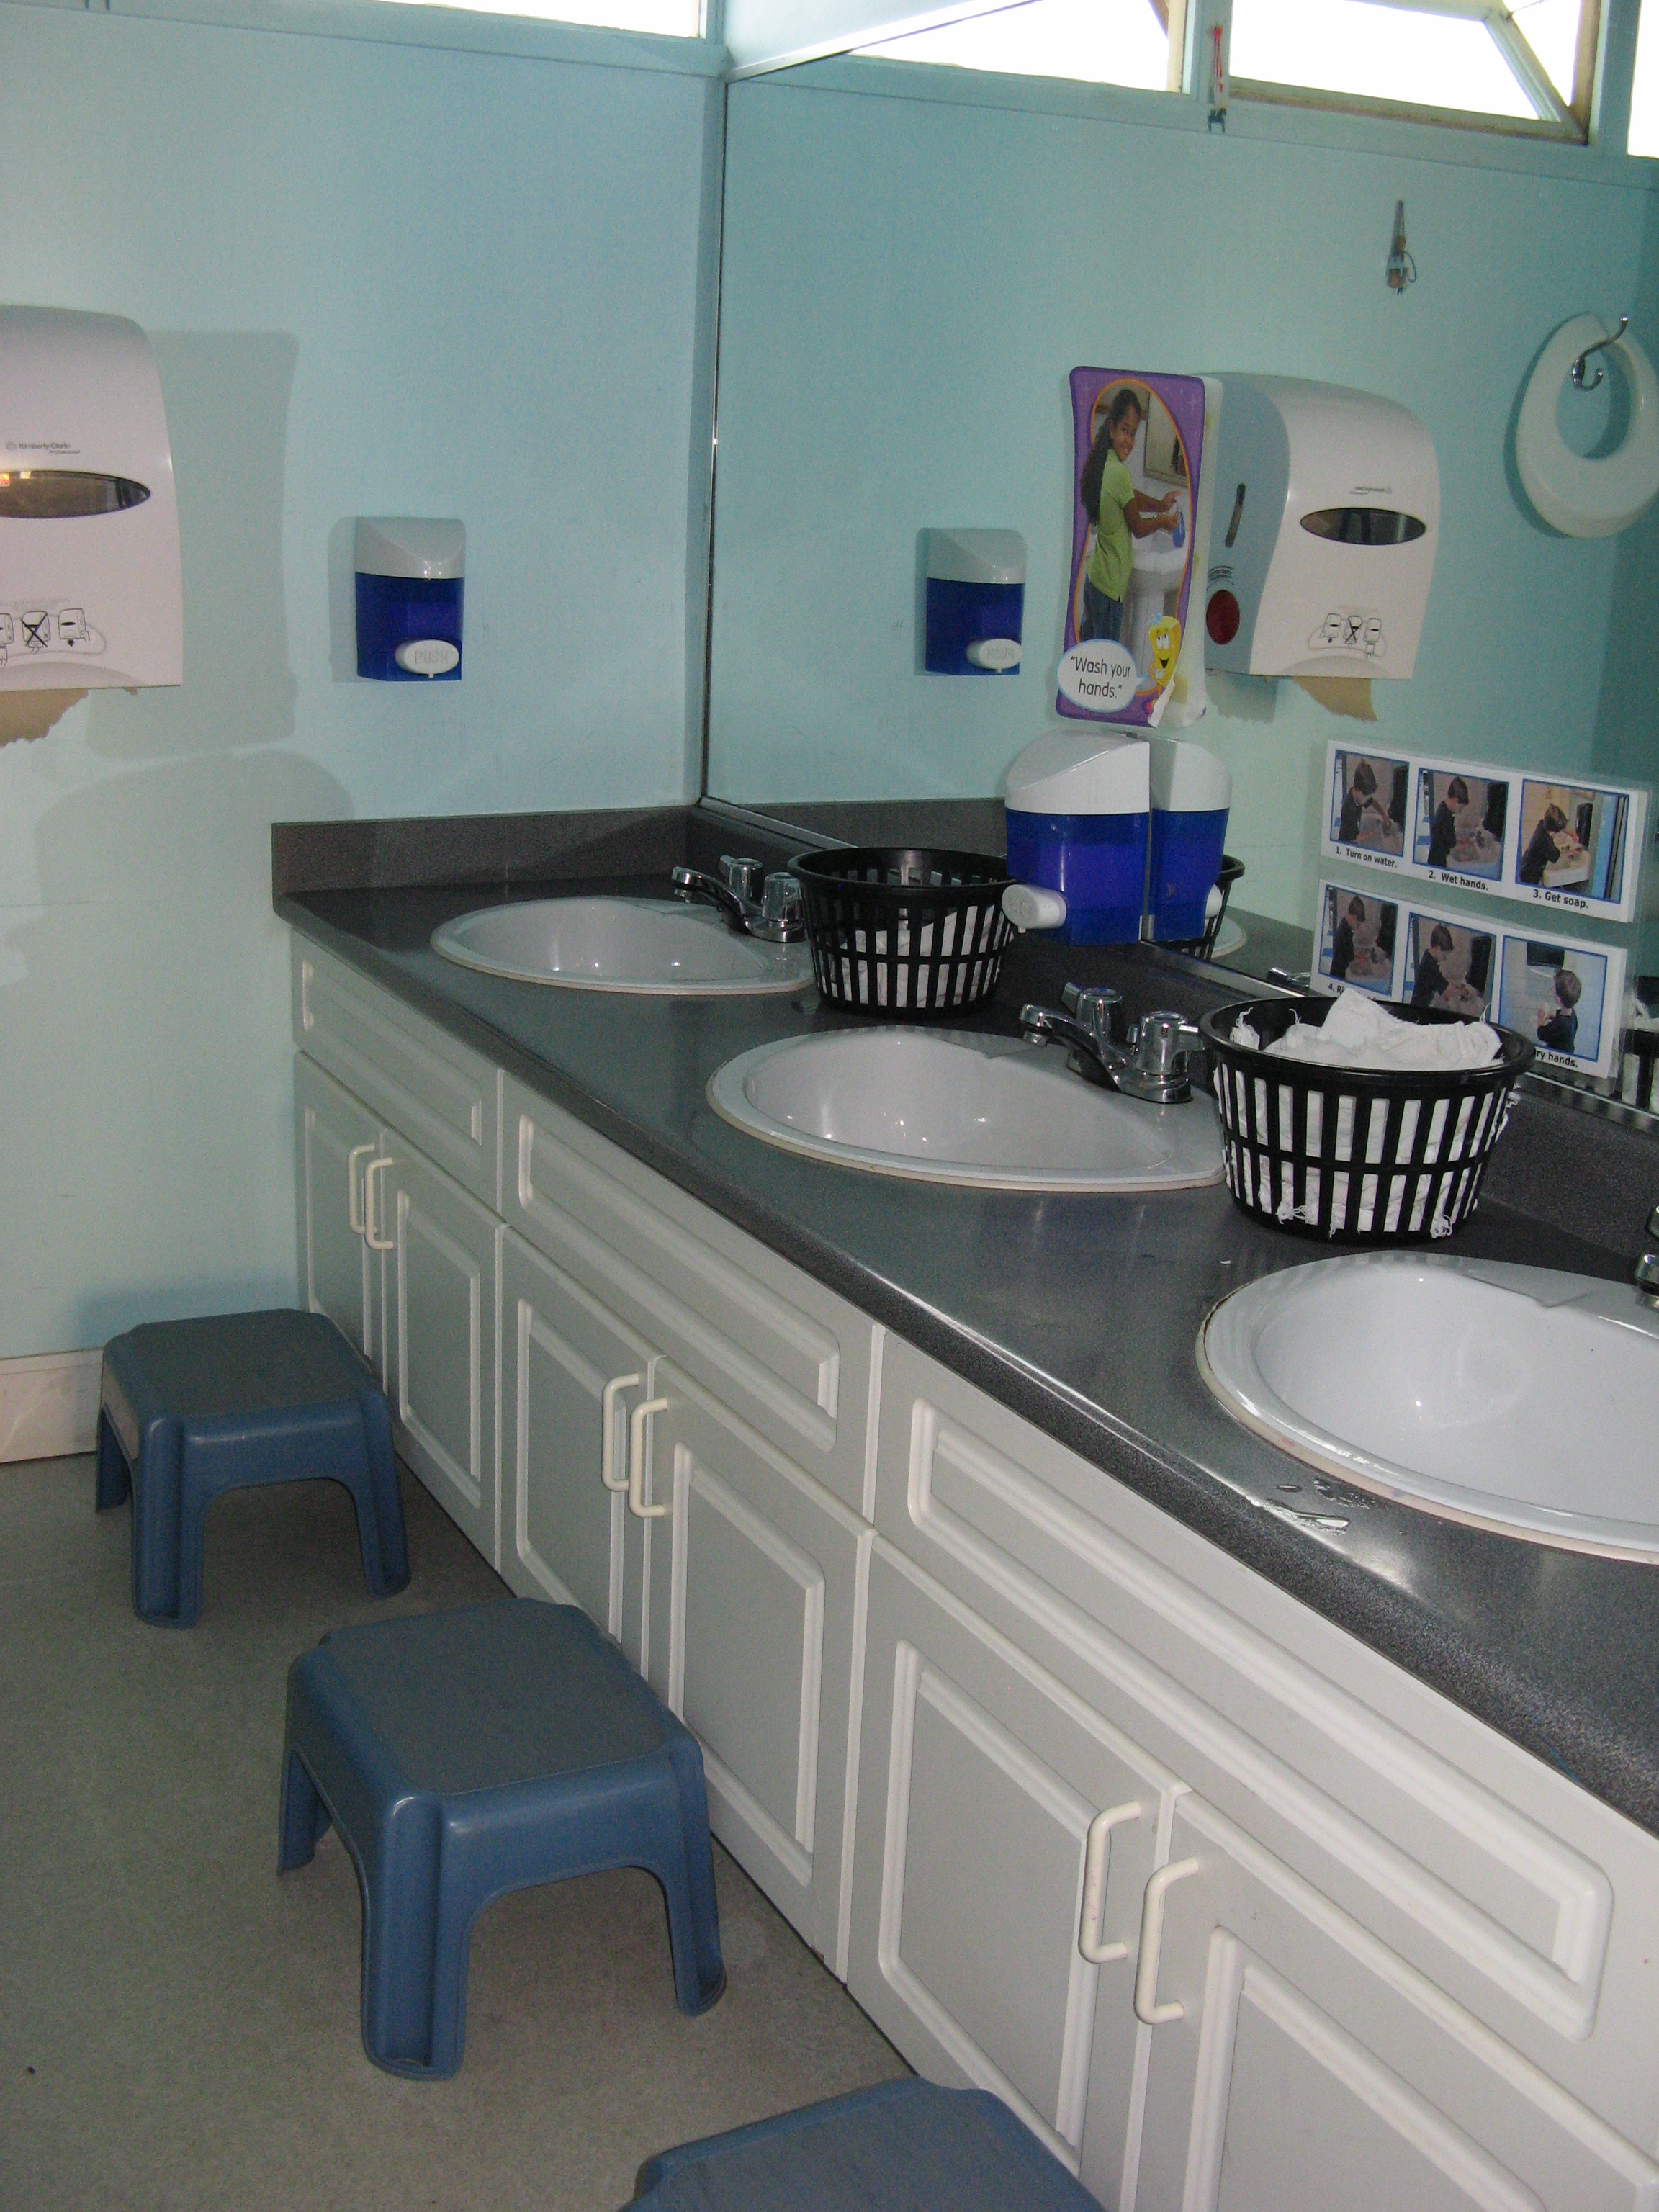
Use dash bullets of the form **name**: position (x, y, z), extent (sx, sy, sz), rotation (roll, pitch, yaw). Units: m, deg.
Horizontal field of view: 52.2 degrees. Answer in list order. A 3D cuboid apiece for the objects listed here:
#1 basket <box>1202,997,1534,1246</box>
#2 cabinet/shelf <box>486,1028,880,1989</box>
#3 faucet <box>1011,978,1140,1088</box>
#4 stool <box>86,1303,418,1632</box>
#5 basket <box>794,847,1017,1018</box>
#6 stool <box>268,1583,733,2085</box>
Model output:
- **basket**: position (0.379, -0.048, 1.257), extent (0.202, 0.128, 0.194), rotation (-10, 23, -27)
- **cabinet/shelf**: position (-0.129, 0.382, 1.567), extent (0.259, 0.624, 0.690), rotation (-4, 26, -30)
- **faucet**: position (0.250, -0.083, 1.728), extent (0.103, 0.085, 0.238), rotation (4, 12, 9)
- **stool**: position (-0.823, 0.489, 2.379), extent (0.336, 0.314, 0.471), rotation (-5, 13, -32)
- **basket**: position (0.078, -0.187, 1.978), extent (0.220, 0.138, 0.221), rotation (18, 27, 42)
- **stool**: position (-0.311, 0.682, 1.626), extent (0.335, 0.297, 0.378), rotation (-5, 13, -32)
